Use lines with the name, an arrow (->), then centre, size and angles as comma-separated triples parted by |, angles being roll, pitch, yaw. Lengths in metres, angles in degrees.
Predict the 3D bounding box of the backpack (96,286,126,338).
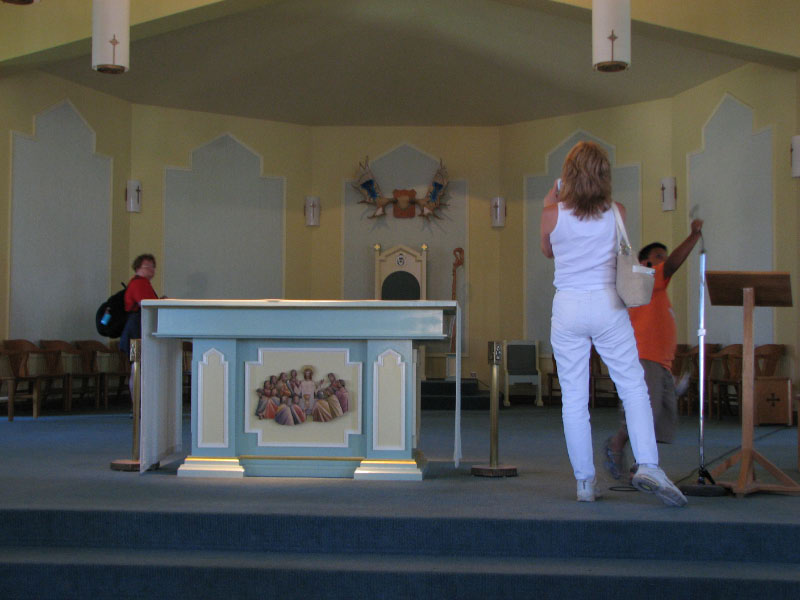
backpack -> -2.998, 0.142, 11.711 | 0.289, 0.492, 0.712 | 0, -1, -15

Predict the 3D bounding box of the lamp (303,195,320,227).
lamp -> -1.263, -1.283, 16.391 | 0.228, 0.409, 0.072 | 0, -1, -6

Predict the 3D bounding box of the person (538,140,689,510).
person -> 1.591, 0.204, 8.549 | 1.001, 2.787, 0.841 | -11, -16, 35

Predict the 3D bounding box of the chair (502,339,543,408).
chair -> 1.675, 0.985, 15.301 | 0.518, 0.844, 0.668 | 0, -1, 5

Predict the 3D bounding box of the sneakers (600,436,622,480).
sneakers -> 1.738, 1.297, 9.168 | 0.144, 0.358, 0.125 | -9, -6, 38

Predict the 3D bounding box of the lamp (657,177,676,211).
lamp -> 3.532, -1.389, 14.776 | 0.079, 0.355, 0.332 | 1, -1, -9

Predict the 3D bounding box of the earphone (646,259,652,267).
earphone -> 2.060, -0.305, 9.279 | 0.070, 0.072, 0.037 | -2, -10, 9

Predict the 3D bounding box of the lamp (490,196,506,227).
lamp -> 1.437, -1.259, 16.290 | 0.205, 0.440, 0.089 | 0, -1, 9

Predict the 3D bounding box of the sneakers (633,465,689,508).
sneakers -> 1.925, 1.364, 8.234 | 0.433, 0.310, 0.162 | 0, -1, -7

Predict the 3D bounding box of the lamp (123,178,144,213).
lamp -> -3.666, -1.436, 15.520 | 0.256, 0.447, 0.119 | 0, -1, -23

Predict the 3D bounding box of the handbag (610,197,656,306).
handbag -> 1.739, -0.338, 8.356 | 0.290, 0.776, 0.266 | -1, -1, 18
